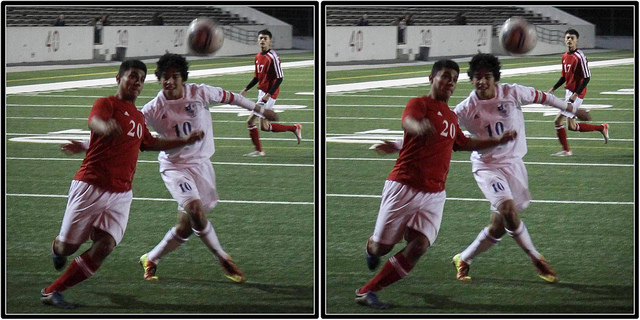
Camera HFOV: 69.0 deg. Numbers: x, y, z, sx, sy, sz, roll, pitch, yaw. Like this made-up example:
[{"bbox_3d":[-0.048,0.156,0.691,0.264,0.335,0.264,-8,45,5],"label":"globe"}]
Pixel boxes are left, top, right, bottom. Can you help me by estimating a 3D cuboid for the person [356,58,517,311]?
[{"bbox_3d":[1.103,0.300,5.186,1.307,2.776,0.558,-6,11,-32],"label":"person"}]
